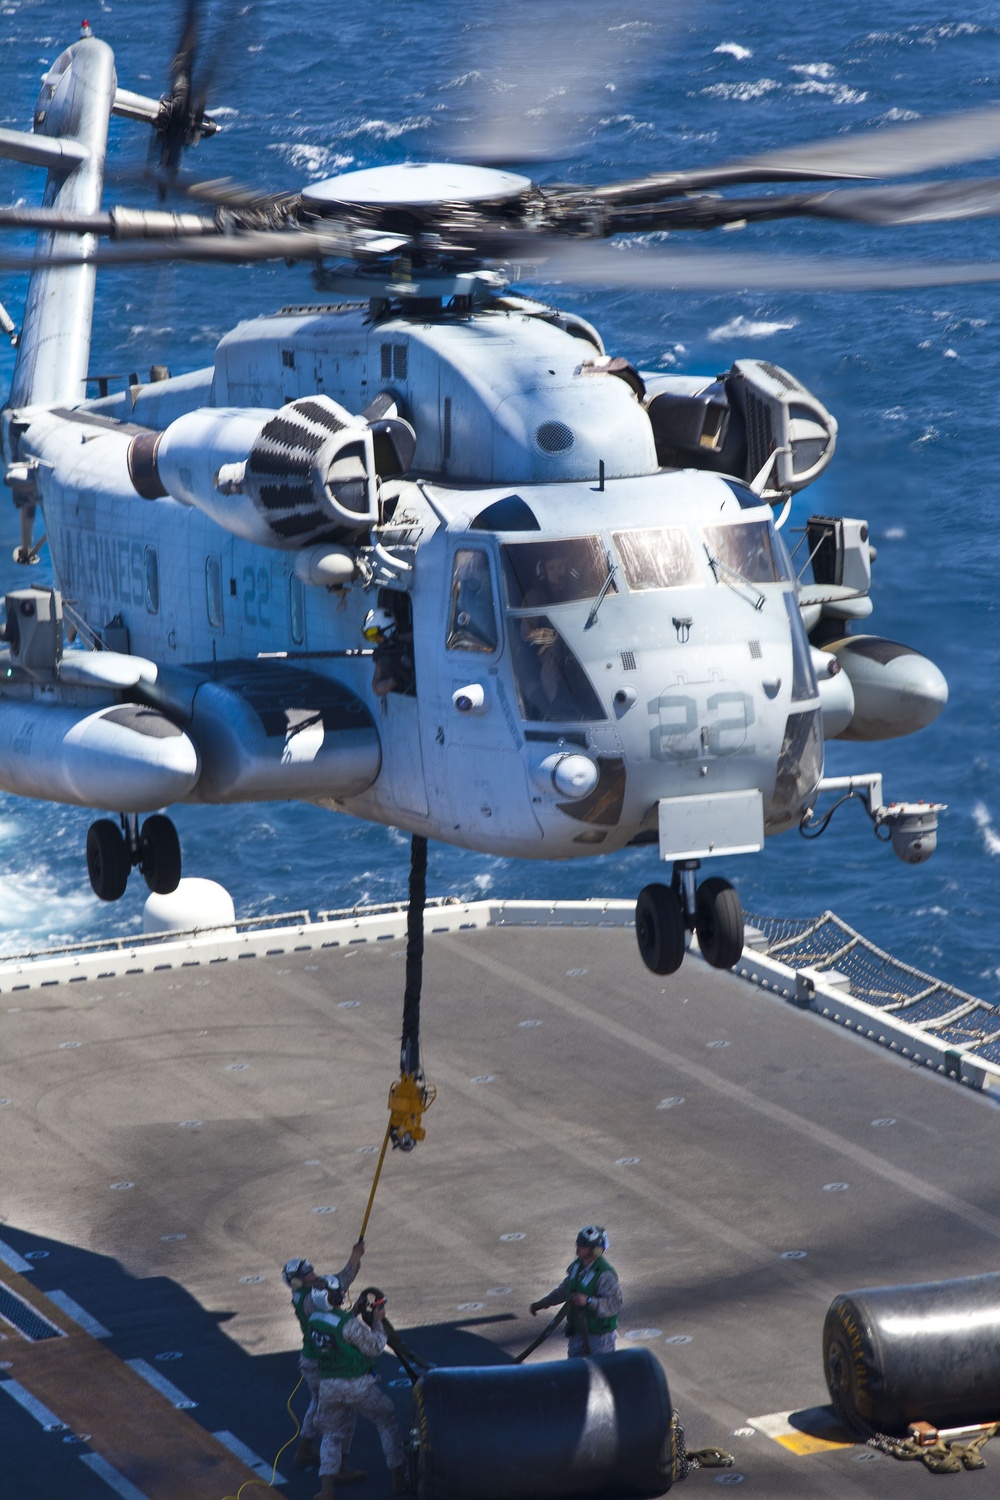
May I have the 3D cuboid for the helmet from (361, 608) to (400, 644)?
[{"bbox_3d":[-1.238,-1.244,24.443,0.314,0.383,0.355,2,-9,-43],"label":"helmet"}]

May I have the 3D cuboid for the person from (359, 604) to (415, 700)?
[{"bbox_3d":[-1.075,-0.965,24.513,0.741,0.728,0.893,-5,11,-11],"label":"person"}]

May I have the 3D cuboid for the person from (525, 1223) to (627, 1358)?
[{"bbox_3d":[0.866,5.477,24.763,0.706,1.280,1.560,-5,-6,0],"label":"person"}]

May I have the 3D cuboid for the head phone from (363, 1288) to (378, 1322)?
[{"bbox_3d":[-1.233,5.311,23.548,0.144,0.172,0.346,1,-1,-9],"label":"head phone"}]
